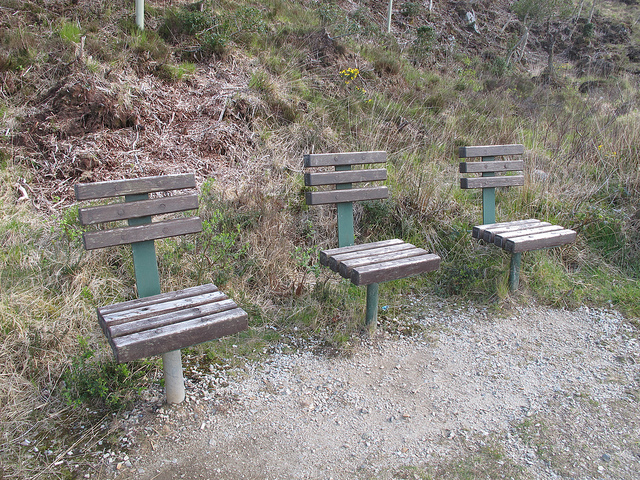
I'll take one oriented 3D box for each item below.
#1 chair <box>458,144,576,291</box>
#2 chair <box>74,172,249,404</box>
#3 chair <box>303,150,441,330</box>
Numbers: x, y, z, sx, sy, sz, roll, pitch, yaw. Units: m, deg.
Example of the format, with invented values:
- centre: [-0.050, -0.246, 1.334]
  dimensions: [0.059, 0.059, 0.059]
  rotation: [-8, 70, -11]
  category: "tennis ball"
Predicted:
- centre: [2.060, -0.228, 5.781]
  dimensions: [0.824, 1.569, 0.857]
  rotation: [-8, 13, -24]
  category: "chair"
- centre: [-1.280, 0.419, 4.460]
  dimensions: [1.047, 1.620, 1.127]
  rotation: [-14, 33, -26]
  category: "chair"
- centre: [0.421, -0.025, 5.363]
  dimensions: [0.985, 1.433, 1.344]
  rotation: [-9, 32, -19]
  category: "chair"
